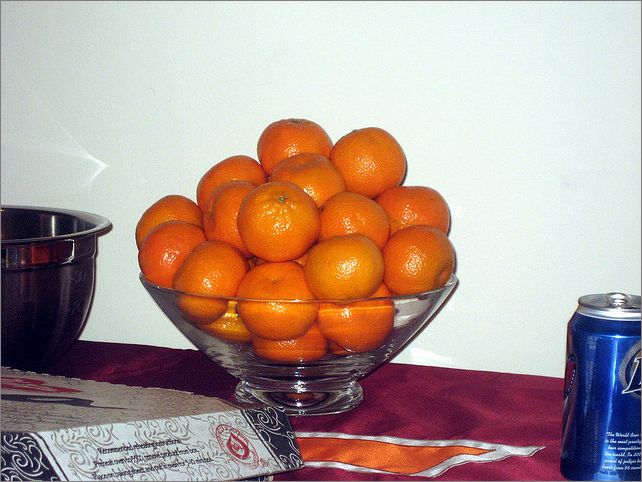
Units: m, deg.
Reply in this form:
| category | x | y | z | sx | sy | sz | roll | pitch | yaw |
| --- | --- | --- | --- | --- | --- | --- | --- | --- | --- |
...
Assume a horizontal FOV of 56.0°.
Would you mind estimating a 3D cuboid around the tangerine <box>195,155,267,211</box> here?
| category | x | y | z | sx | sy | sz | roll | pitch | yaw |
| --- | --- | --- | --- | --- | --- | --- | --- | --- | --- |
| tangerine | -0.134 | -0.093 | 0.919 | 0.088 | 0.067 | 0.084 | -37 | -3 | 13 |

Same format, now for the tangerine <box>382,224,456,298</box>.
| category | x | y | z | sx | sy | sz | roll | pitch | yaw |
| --- | --- | --- | --- | --- | --- | --- | --- | --- | --- |
| tangerine | 0.131 | 0.025 | 0.777 | 0.102 | 0.089 | 0.072 | 3 | 0 | -6 |

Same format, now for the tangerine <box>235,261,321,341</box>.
| category | x | y | z | sx | sy | sz | roll | pitch | yaw |
| --- | --- | --- | --- | --- | --- | --- | --- | --- | --- |
| tangerine | -0.048 | 0.072 | 0.751 | 0.085 | 0.069 | 0.090 | -24 | 52 | -19 |

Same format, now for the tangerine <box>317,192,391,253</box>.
| category | x | y | z | sx | sy | sz | roll | pitch | yaw |
| --- | --- | --- | --- | --- | --- | --- | --- | --- | --- |
| tangerine | 0.041 | -0.031 | 0.775 | 0.077 | 0.078 | 0.073 | 9 | 22 | 8 |

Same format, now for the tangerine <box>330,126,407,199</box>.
| category | x | y | z | sx | sy | sz | roll | pitch | yaw |
| --- | --- | --- | --- | --- | --- | --- | --- | --- | --- |
| tangerine | 0.072 | -0.106 | 0.884 | 0.095 | 0.096 | 0.099 | 2 | -12 | 11 |

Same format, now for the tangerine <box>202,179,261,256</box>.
| category | x | y | z | sx | sy | sz | roll | pitch | yaw |
| --- | --- | --- | --- | --- | --- | --- | --- | --- | --- |
| tangerine | -0.125 | -0.035 | 0.851 | 0.084 | 0.106 | 0.092 | 4 | 5 | 19 |

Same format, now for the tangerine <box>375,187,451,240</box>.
| category | x | y | z | sx | sy | sz | roll | pitch | yaw |
| --- | --- | --- | --- | --- | --- | --- | --- | --- | --- |
| tangerine | 0.129 | -0.047 | 0.830 | 0.075 | 0.079 | 0.073 | 1 | 14 | 1 |

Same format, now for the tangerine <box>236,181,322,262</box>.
| category | x | y | z | sx | sy | sz | roll | pitch | yaw |
| --- | --- | --- | --- | --- | --- | --- | --- | --- | --- |
| tangerine | -0.057 | -0.022 | 0.798 | 0.117 | 0.112 | 0.125 | 2 | -11 | -3 |

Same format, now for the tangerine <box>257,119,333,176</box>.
| category | x | y | z | sx | sy | sz | roll | pitch | yaw |
| --- | --- | --- | --- | --- | --- | --- | --- | --- | --- |
| tangerine | -0.040 | -0.144 | 0.869 | 0.087 | 0.067 | 0.082 | 3 | -5 | -39 |

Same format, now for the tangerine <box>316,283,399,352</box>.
| category | x | y | z | sx | sy | sz | roll | pitch | yaw |
| --- | --- | --- | --- | --- | --- | --- | --- | --- | --- |
| tangerine | 0.052 | 0.091 | 0.778 | 0.103 | 0.102 | 0.097 | -6 | 24 | -5 |

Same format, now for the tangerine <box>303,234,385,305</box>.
| category | x | y | z | sx | sy | sz | roll | pitch | yaw |
| --- | --- | --- | --- | --- | --- | --- | --- | --- | --- |
| tangerine | 0.031 | 0.034 | 0.774 | 0.109 | 0.089 | 0.105 | -4 | 18 | -8 |

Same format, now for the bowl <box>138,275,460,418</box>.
| category | x | y | z | sx | sy | sz | roll | pitch | yaw |
| --- | --- | --- | --- | --- | --- | --- | --- | --- | --- |
| bowl | -0.011 | 0.161 | 0.892 | 0.335 | 0.151 | 0.344 | -7 | 4 | 0 |

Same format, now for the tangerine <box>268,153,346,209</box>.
| category | x | y | z | sx | sy | sz | roll | pitch | yaw |
| --- | --- | --- | --- | --- | --- | --- | --- | --- | --- |
| tangerine | -0.017 | -0.087 | 0.807 | 0.075 | 0.062 | 0.079 | 0 | 12 | -27 |
